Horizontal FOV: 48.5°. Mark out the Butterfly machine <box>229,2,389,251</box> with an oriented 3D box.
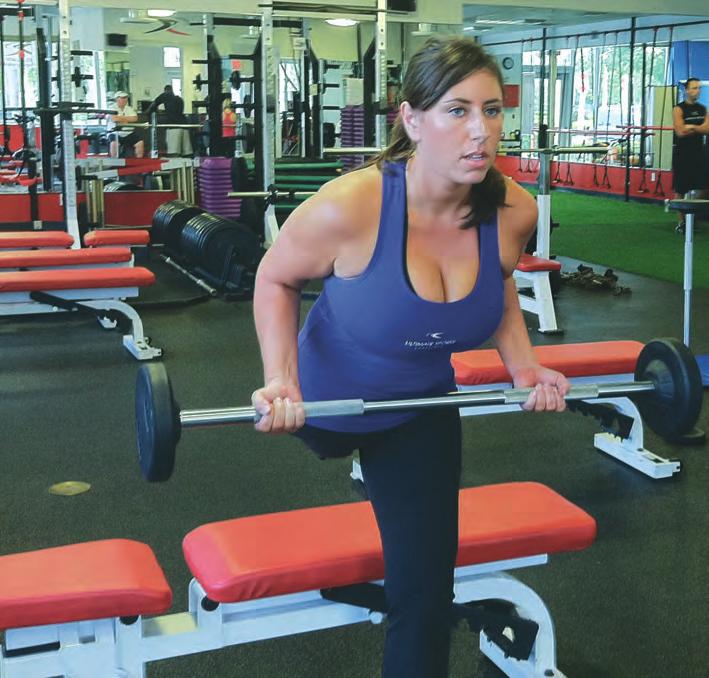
[{"bbox_3d":[-0.226,-1.688,6.299,0.737,1.757,1.296,-6,20,-15],"label":"Butterfly machine"}]
